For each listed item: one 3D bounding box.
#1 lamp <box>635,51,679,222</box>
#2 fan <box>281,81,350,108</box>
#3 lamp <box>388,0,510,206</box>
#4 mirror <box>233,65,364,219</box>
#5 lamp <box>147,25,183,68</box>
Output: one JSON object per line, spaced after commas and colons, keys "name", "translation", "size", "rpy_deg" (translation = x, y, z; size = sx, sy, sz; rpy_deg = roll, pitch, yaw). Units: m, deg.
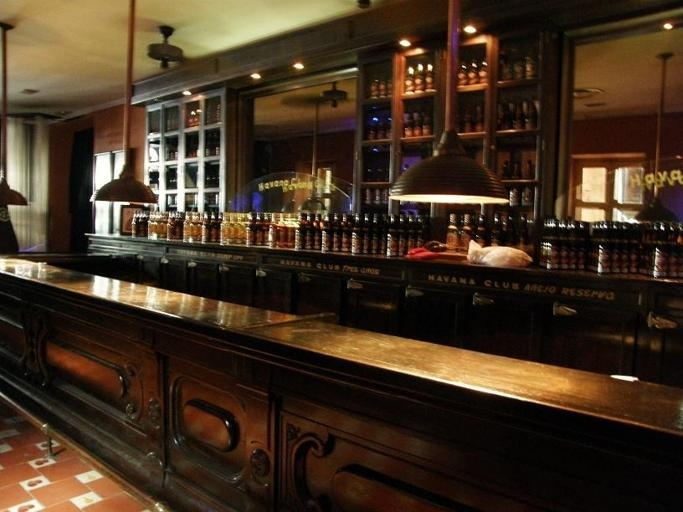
{"name": "lamp", "translation": [2.393, -0.903, 4.007], "size": [0.255, 1.257, 0.450], "rpy_deg": [4, 13, 17]}
{"name": "fan", "translation": [-0.305, -1.780, 6.138], "size": [0.811, 0.265, 0.252], "rpy_deg": [0, -10, 32]}
{"name": "lamp", "translation": [0.711, -0.924, 3.265], "size": [0.645, 1.280, 1.278], "rpy_deg": [3, 13, 16]}
{"name": "mirror", "translation": [-0.441, -1.316, 6.049], "size": [2.104, 2.108, 0.157], "rpy_deg": [3, 5, 39]}
{"name": "lamp", "translation": [-1.831, -2.297, 5.901], "size": [0.409, 0.374, 0.369], "rpy_deg": [0, -3, -1]}
